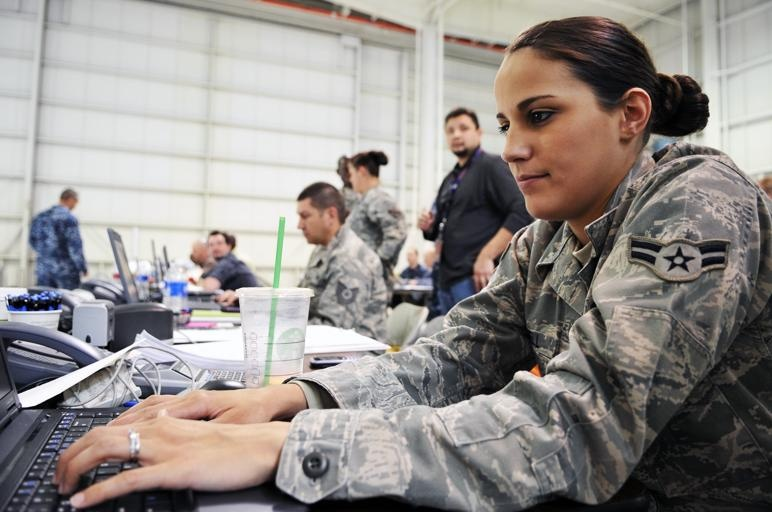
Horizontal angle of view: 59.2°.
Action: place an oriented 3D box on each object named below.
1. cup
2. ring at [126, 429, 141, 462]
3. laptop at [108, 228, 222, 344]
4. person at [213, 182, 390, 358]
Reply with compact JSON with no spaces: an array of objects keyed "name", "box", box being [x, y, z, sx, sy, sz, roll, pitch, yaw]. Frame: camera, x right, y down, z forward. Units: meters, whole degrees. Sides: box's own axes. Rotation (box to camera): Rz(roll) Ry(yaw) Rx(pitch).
[{"name":"cup","box":[-0.235,0.203,1.742,0.224,0.305,0.219,2,-2,0]},{"name":"ring","box":[-0.498,0.378,1.348,0.018,0.058,0.056,5,2,-23]},{"name":"laptop","box":[-1.334,0.135,4.163,0.519,0.406,0.649,2,1,-19]},{"name":"person","box":[-0.511,0.134,3.486,0.716,1.327,0.706,6,-18,-16]}]
